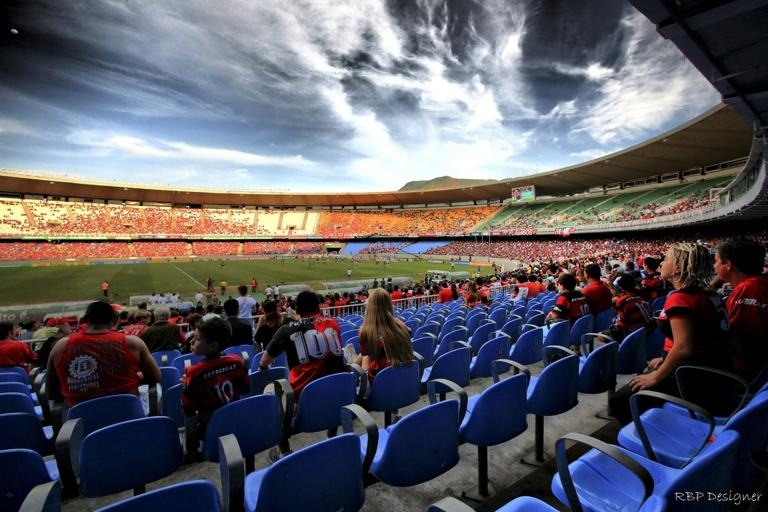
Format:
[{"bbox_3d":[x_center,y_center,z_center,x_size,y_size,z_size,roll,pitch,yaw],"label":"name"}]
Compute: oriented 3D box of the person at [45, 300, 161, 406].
[{"bbox_3d":[-3.655,1.360,5.030,1.507,1.351,1.132,-4,-2,-8],"label":"person"}]
